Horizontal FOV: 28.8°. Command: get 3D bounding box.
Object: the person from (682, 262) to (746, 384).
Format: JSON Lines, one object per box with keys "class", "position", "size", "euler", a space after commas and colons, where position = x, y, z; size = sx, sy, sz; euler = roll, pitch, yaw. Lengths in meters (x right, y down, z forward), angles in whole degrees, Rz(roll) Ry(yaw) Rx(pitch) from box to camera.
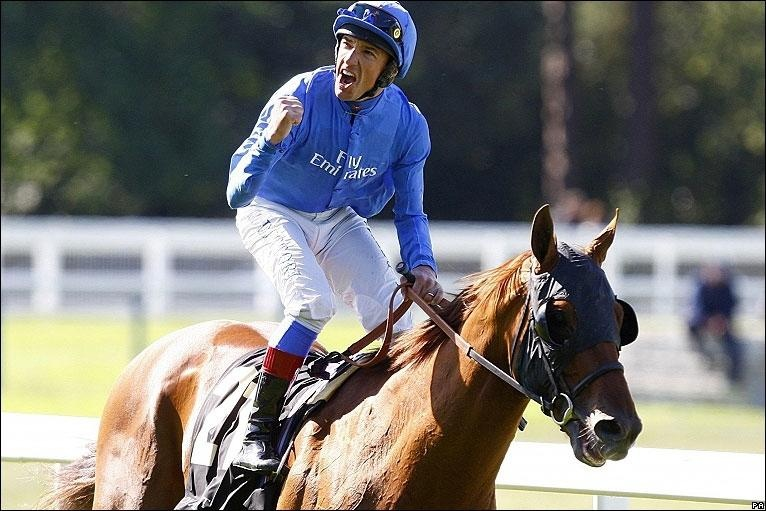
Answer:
{"class": "person", "position": [3.644, 0.732, 16.076], "size": [0.624, 1.200, 0.517], "euler": [3, 6, 23]}
